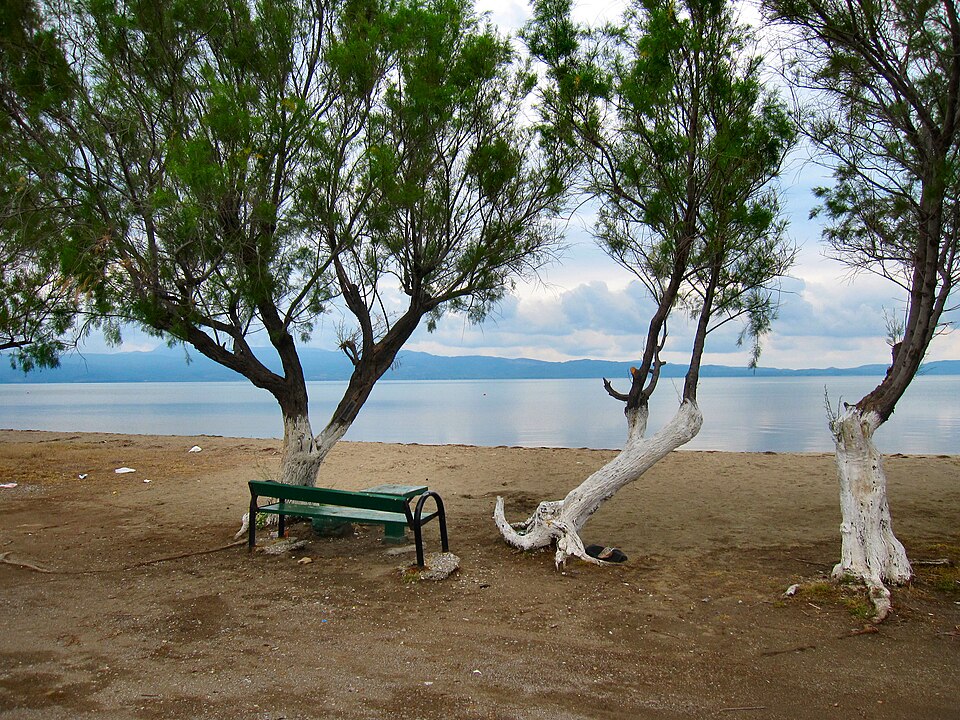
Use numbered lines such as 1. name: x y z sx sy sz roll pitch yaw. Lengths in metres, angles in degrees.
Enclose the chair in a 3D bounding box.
1. chair: -1.903 2.143 9.490 2.747 1.184 0.984 0 8 28
